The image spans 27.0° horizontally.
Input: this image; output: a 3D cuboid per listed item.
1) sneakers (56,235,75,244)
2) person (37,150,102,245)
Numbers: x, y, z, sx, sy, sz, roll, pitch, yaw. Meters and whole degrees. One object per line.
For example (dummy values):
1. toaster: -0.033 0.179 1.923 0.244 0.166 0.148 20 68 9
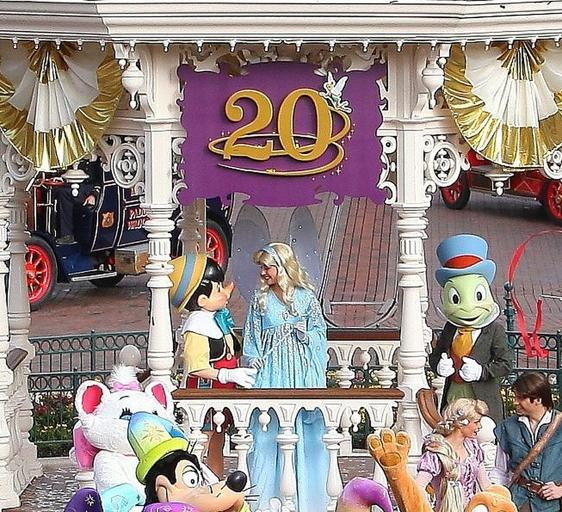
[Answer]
1. sneakers: -3.049 -0.235 16.570 0.080 0.176 0.239 -5 -9 36
2. person: -2.915 -0.790 16.722 0.571 1.248 0.898 0 -1 13
